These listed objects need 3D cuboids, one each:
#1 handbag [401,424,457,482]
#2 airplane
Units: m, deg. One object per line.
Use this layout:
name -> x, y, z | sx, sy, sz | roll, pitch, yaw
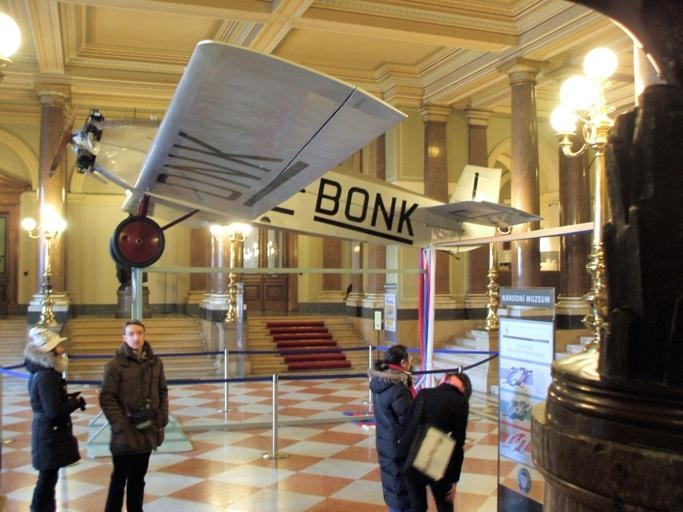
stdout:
handbag -> 0.548, 1.187, 3.328 | 0.283, 0.353, 0.202 | 36, -13, -33
airplane -> -0.298, -1.684, 8.195 | 4.098, 1.311, 4.700 | 5, -8, -21
